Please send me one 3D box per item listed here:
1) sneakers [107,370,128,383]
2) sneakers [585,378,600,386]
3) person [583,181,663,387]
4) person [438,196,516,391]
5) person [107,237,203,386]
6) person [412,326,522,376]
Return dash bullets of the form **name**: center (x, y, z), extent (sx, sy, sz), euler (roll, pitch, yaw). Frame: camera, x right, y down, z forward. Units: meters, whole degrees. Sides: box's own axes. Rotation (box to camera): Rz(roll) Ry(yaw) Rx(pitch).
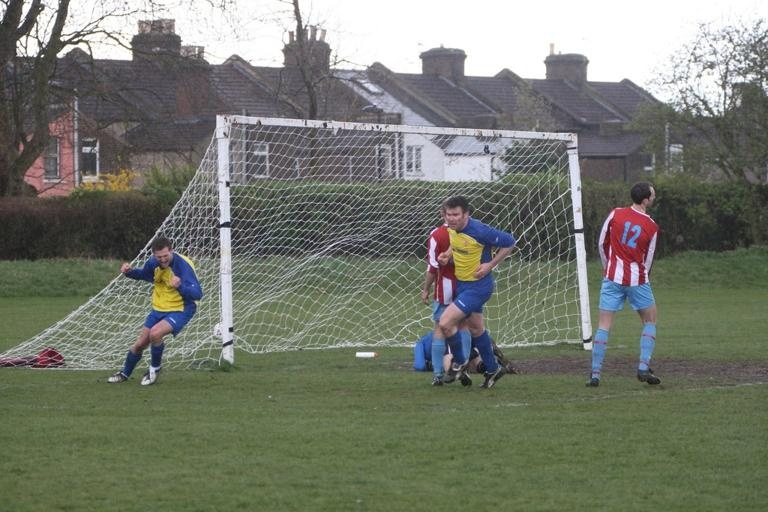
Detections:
- **sneakers**: center (-4.689, 2.143, 22.260), extent (0.452, 0.189, 0.145), euler (-2, 5, 2)
- **sneakers**: center (3.593, 2.186, 21.753), extent (0.235, 0.131, 0.118), euler (1, -3, 23)
- **person**: center (4.197, 0.484, 21.909), extent (1.159, 3.552, 0.583), euler (0, -2, 9)
- **person**: center (1.553, 0.637, 21.914), extent (1.200, 3.325, 0.701), euler (1, -2, 1)
- **person**: center (-3.932, 0.976, 22.192), extent (1.395, 2.594, 0.652), euler (1, -2, -4)
- **person**: center (1.285, 1.739, 22.752), extent (1.299, 0.467, 0.864), euler (4, 8, 32)
